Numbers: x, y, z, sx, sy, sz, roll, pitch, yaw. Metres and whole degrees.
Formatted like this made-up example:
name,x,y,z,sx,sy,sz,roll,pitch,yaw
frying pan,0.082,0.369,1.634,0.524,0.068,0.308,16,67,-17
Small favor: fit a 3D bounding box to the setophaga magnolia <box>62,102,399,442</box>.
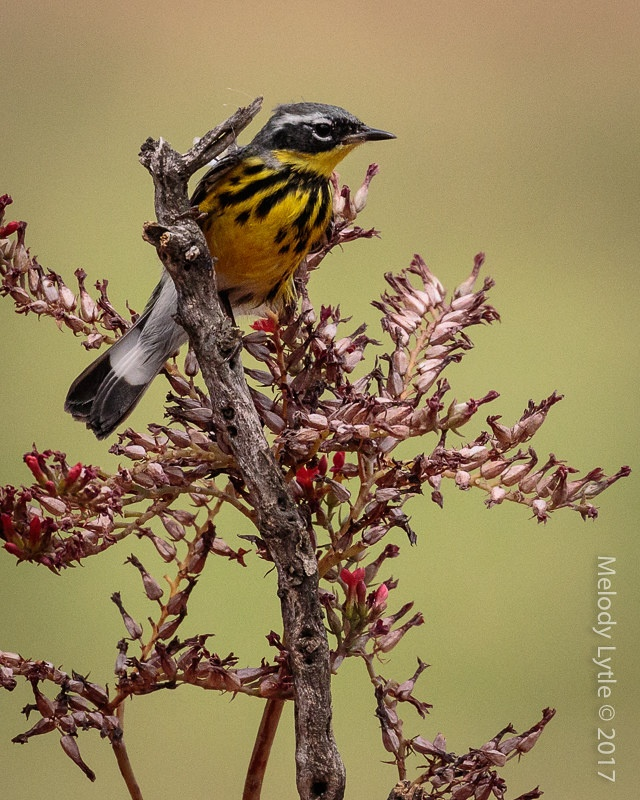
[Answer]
name,x,y,z,sx,sy,sz,roll,pitch,yaw
setophaga magnolia,-0.139,-0.175,1.987,0.725,0.377,0.257,-34,-48,2
